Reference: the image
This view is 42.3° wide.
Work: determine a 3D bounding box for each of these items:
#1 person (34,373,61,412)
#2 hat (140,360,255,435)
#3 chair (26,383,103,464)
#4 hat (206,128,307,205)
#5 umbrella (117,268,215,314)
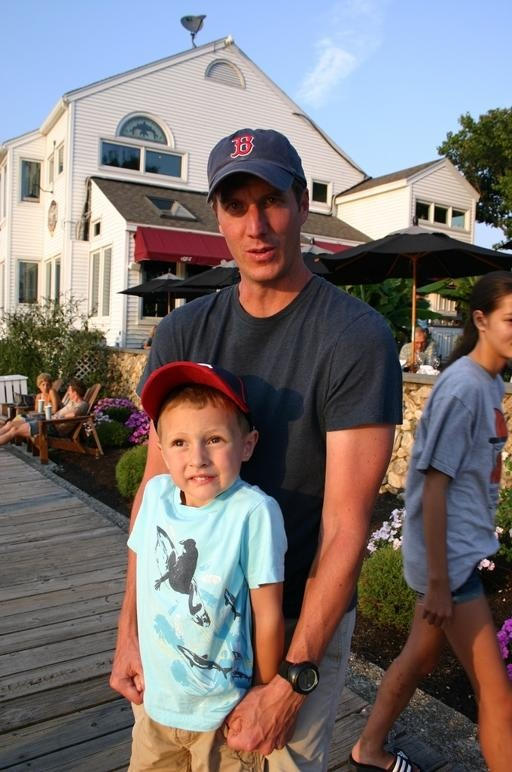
[{"bbox_3d":[-3.592,0.053,11.639,0.471,0.686,1.524,-1,8,-9],"label":"person"},{"bbox_3d":[-0.180,0.037,1.665,0.228,0.156,0.359,-2,-8,-9],"label":"hat"},{"bbox_3d":[-3.068,0.513,10.761,1.148,1.019,0.935,-5,18,-17],"label":"chair"},{"bbox_3d":[-0.010,-0.587,1.739,0.189,0.127,0.253,-3,-1,15],"label":"hat"},{"bbox_3d":[-2.424,-2.372,17.687,1.657,0.803,1.683,-5,9,-10],"label":"umbrella"}]
